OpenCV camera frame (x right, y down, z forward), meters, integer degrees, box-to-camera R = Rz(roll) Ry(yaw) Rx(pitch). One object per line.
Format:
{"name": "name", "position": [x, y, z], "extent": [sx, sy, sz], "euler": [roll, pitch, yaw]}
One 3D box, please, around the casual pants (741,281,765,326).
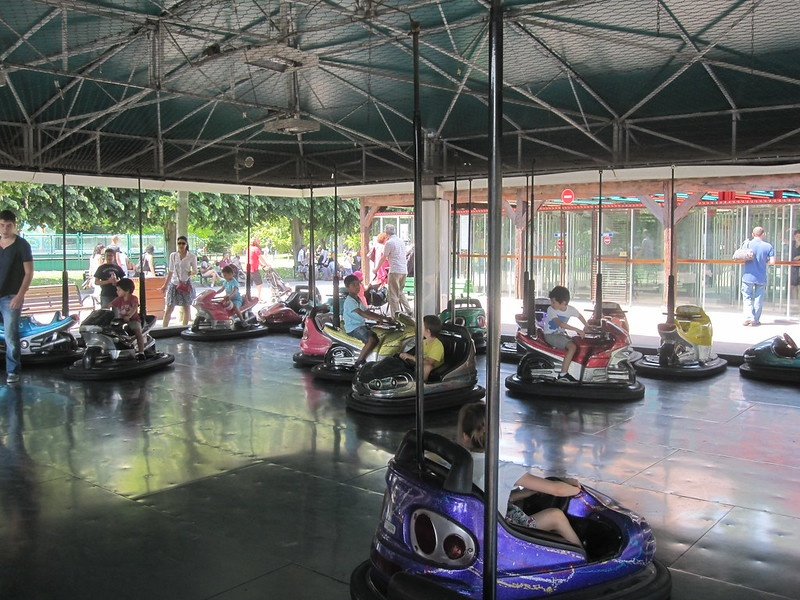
{"name": "casual pants", "position": [5.668, 0.003, 10.569], "extent": [0.386, 0.792, 0.270], "euler": [2, -8, 20]}

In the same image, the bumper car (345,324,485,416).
{"name": "bumper car", "position": [0.168, 0.623, 5.912], "extent": [1.284, 0.769, 0.564], "euler": [0, 3, -8]}

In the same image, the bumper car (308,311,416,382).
{"name": "bumper car", "position": [-0.272, 0.453, 7.109], "extent": [1.354, 0.640, 0.497], "euler": [2, 6, 8]}

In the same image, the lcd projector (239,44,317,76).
{"name": "lcd projector", "position": [-1.261, -2.464, 6.776], "extent": [0.388, 0.104, 0.604], "euler": [-5, -7, 42]}

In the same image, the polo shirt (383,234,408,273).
{"name": "polo shirt", "position": [-0.077, -0.710, 10.348], "extent": [0.279, 0.593, 0.526], "euler": [-3, 4, 37]}

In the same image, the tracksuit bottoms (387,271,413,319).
{"name": "tracksuit bottoms", "position": [-0.042, -0.121, 10.446], "extent": [0.248, 0.803, 0.381], "euler": [12, 18, 39]}

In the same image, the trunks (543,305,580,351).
{"name": "trunks", "position": [1.672, 0.238, 6.718], "extent": [0.405, 0.564, 0.458], "euler": [2, 4, 25]}

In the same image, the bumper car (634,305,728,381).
{"name": "bumper car", "position": [3.059, 0.491, 7.413], "extent": [0.834, 0.808, 0.885], "euler": [-10, 5, -32]}
